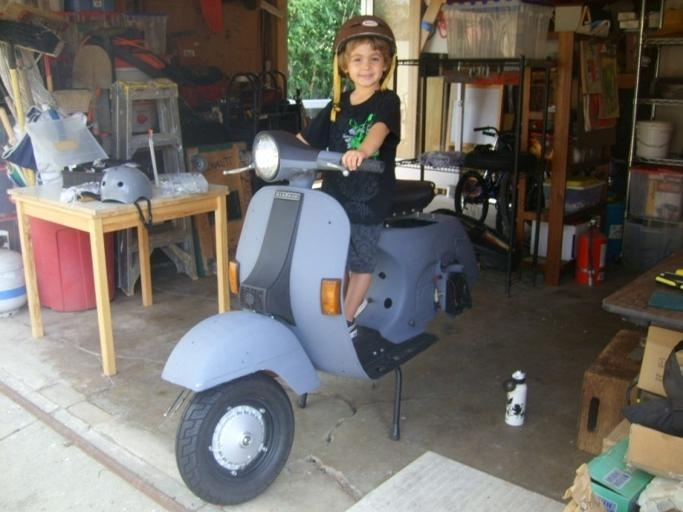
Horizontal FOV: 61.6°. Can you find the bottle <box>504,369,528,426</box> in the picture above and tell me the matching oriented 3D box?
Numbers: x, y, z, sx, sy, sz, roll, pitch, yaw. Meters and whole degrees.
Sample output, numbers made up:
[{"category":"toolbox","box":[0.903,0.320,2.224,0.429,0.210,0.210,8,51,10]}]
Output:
[{"category":"bottle","box":[0.886,0.684,2.902,0.113,0.262,0.241,7,18,20]}]

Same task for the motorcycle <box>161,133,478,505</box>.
[{"category":"motorcycle","box":[-0.081,0.196,2.539,1.510,1.465,0.588,-15,23,-40]}]

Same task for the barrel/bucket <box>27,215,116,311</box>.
[{"category":"barrel/bucket","box":[-1.875,0.020,4.149,0.591,0.694,0.602,2,13,0]}]

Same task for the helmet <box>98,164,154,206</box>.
[{"category":"helmet","box":[-1.214,-0.393,3.207,0.221,0.165,0.244,5,17,11]}]

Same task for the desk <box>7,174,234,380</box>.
[{"category":"desk","box":[-1.415,-0.223,3.748,1.269,1.247,1.257,-15,23,-43]}]

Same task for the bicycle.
[{"category":"bicycle","box":[1.325,-0.804,5.765,0.603,0.779,1.205,2,11,18]}]

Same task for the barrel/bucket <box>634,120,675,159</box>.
[{"category":"barrel/bucket","box":[2.762,-1.032,5.215,0.366,0.347,0.346,-1,13,0]}]

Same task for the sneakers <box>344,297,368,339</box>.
[{"category":"sneakers","box":[0.069,0.309,2.709,0.070,0.099,0.218,14,16,19]}]
